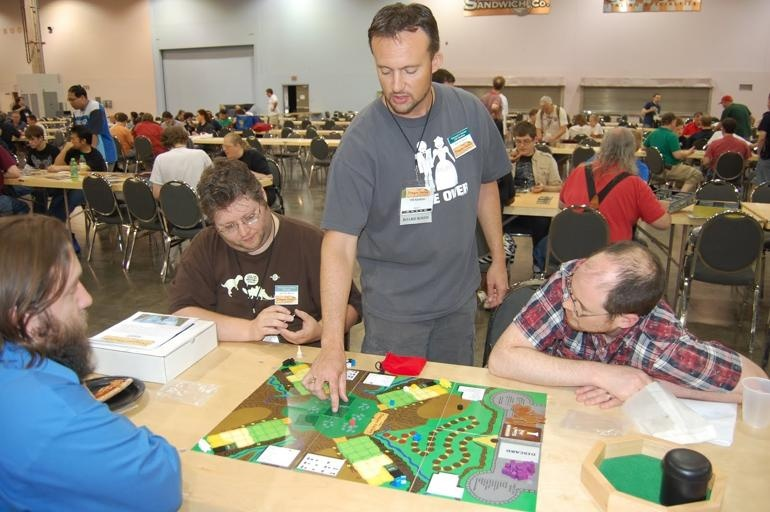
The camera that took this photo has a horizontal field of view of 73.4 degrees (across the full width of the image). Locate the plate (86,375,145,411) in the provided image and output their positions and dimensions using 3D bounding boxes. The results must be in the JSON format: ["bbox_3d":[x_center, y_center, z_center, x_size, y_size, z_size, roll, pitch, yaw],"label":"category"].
[{"bbox_3d":[-0.977,0.476,1.853,0.154,0.156,0.017,-17,50,-22],"label":"plate"}]

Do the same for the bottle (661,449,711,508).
[{"bbox_3d":[0.810,0.608,1.459,0.141,0.138,0.142,-1,7,2],"label":"bottle"}]
